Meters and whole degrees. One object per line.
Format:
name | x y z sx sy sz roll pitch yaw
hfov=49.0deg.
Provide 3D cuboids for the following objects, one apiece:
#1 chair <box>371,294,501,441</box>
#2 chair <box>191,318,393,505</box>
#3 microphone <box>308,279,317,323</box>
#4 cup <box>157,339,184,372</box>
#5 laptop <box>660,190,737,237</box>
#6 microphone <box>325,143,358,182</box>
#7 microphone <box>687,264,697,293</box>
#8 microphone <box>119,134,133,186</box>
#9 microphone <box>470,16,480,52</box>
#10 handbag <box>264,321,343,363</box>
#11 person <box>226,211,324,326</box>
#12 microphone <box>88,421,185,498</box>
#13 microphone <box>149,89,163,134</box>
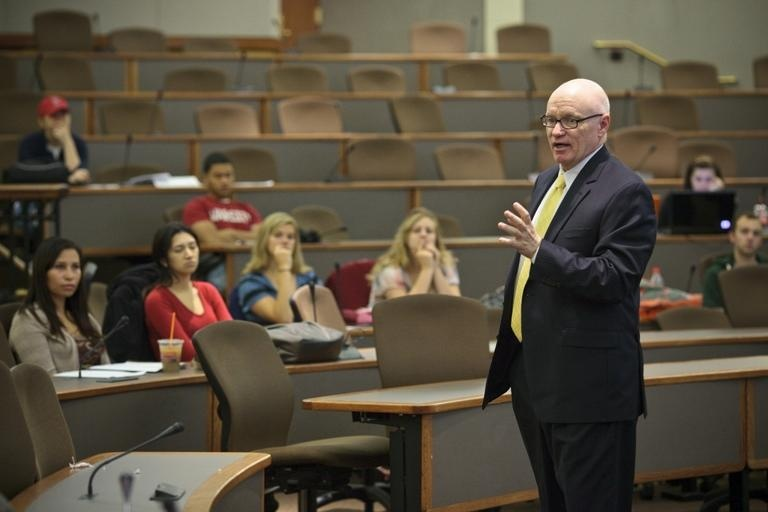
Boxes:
chair | 0.226 0.452 3.903 0.407 0.595 0.452 0 -11 -17
chair | -0.466 0.658 3.838 0.782 1.041 0.685 -5 -5 28
microphone | -0.365 0.229 4.323 0.029 0.208 0.087 -3 4 -4
cup | -0.987 0.455 3.891 0.124 0.154 0.130 2 -2 0
laptop | 2.175 -0.310 5.819 0.478 0.336 0.279 0 -2 0
microphone | -0.301 -0.664 5.984 0.185 0.078 0.317 1 43 4
microphone | 2.135 0.148 5.891 0.065 0.184 0.044 -4 4 -23
microphone | -1.734 -0.676 5.655 0.064 0.313 0.198 -3 4 -4
microphone | 0.600 -1.508 5.655 0.072 0.192 0.247 -2 4 6
handbag | -0.381 0.408 4.081 0.236 0.094 0.238 0 4 -29
person | -0.537 0.171 4.849 0.732 0.744 0.488 4 -6 -41
microphone | -0.922 0.743 3.078 0.426 0.123 0.049 -36 -3 7
microphone | -1.583 -0.983 5.810 0.052 0.247 0.162 4 13 11
